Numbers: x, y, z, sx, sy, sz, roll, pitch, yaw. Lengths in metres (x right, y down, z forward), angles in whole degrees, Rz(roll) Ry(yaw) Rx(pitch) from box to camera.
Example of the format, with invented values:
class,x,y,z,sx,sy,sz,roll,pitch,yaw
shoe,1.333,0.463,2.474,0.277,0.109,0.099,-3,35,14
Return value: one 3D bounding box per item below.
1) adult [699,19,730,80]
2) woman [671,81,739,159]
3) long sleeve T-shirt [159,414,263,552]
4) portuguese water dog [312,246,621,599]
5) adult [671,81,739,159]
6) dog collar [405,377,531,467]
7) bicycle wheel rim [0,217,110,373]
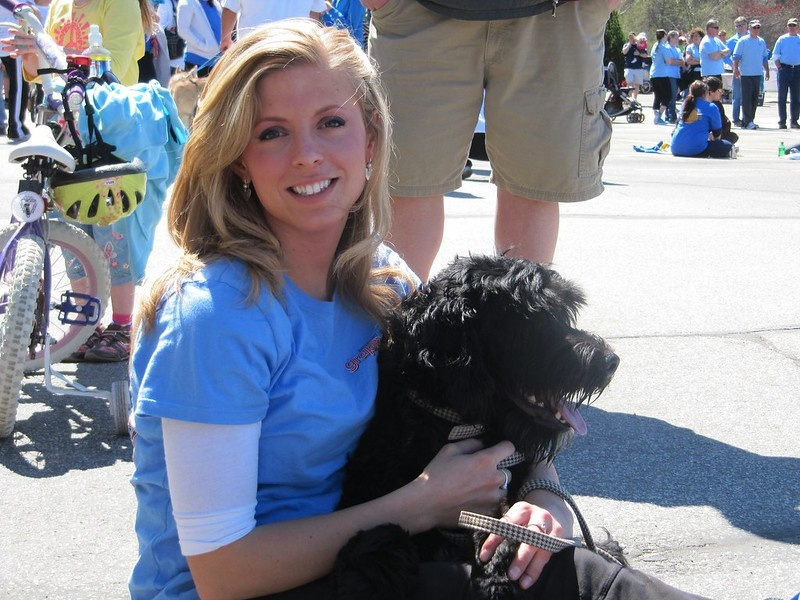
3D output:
class,x,y,z,sx,sy,sz,roll,pitch,yaw
adult,7.829,-5.789,19.783,0.680,2.007,0.635,-12,16,-16
woman,4.814,-2.892,12.778,0.838,1.197,1.020,-13,21,-32
long sleeve T-shirt,-0.455,0.403,1.941,0.212,0.372,0.279,7,19,11
portuguese water dog,0.200,0.243,2.186,0.746,0.855,0.891,-11,-13,36
adult,4.834,-2.901,12.732,0.845,1.198,1.013,-14,23,-24
dog collar,0.173,0.315,2.118,0.287,0.168,0.067,28,59,22
bicycle wheel rim,-1.559,-0.008,3.517,0.197,0.609,0.613,13,-7,34
